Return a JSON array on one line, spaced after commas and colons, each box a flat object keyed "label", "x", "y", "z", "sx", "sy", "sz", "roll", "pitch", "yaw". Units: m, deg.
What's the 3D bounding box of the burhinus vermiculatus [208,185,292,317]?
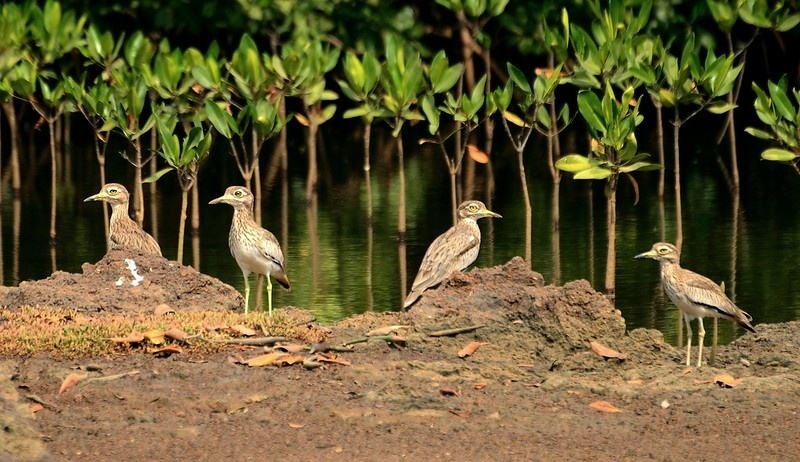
[{"label": "burhinus vermiculatus", "x": -2.679, "y": 0.336, "z": 20.237, "sx": 1.148, "sy": 1.697, "sz": 2.013, "roll": -3, "pitch": 2, "yaw": -9}]
